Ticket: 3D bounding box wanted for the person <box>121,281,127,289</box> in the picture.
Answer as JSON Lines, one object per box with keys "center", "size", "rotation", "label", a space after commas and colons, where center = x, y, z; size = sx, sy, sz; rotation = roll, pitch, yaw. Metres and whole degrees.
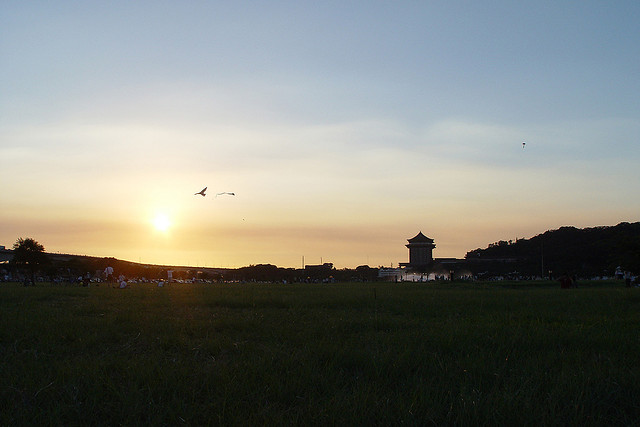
{"center": [-16.835, 6.112, 60.792], "size": [0.348, 0.702, 2.620], "rotation": [1, -1, -15], "label": "person"}
